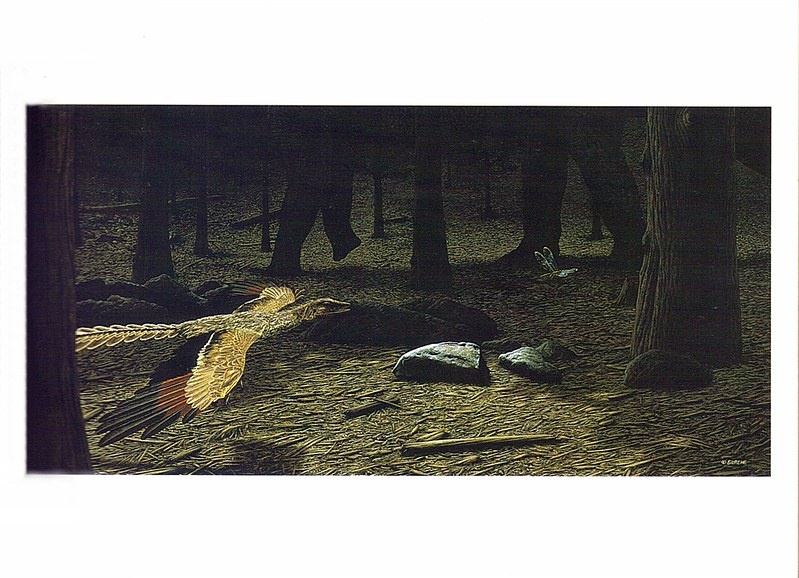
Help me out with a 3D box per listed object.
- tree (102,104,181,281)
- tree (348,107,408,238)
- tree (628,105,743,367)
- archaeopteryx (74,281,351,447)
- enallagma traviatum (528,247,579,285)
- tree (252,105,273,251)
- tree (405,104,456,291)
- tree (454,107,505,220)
[{"bbox_3d":[-1.325,-0.486,4.531,0.326,0.902,0.173,3,-9,2],"label":"tree"},{"bbox_3d":[-0.104,-0.602,4.529,0.294,0.672,0.140,3,-9,-2],"label":"tree"},{"bbox_3d":[1.487,-0.272,4.513,0.537,1.301,0.291,2,-9,10],"label":"tree"},{"bbox_3d":[-1.011,0.429,4.590,1.387,0.263,0.983,9,32,7],"label":"archaeopteryx"},{"bbox_3d":[0.789,-0.129,4.469,0.265,0.107,0.208,2,-2,12],"label":"enallagma traviatum"},{"bbox_3d":[-0.686,-0.558,4.529,0.072,0.730,0.148,4,-9,-2],"label":"tree"},{"bbox_3d":[0.168,-0.461,4.526,0.209,0.932,0.177,3,-9,5],"label":"tree"},{"bbox_3d":[0.399,-0.649,4.522,0.242,0.573,0.112,3,-9,-1],"label":"tree"}]
